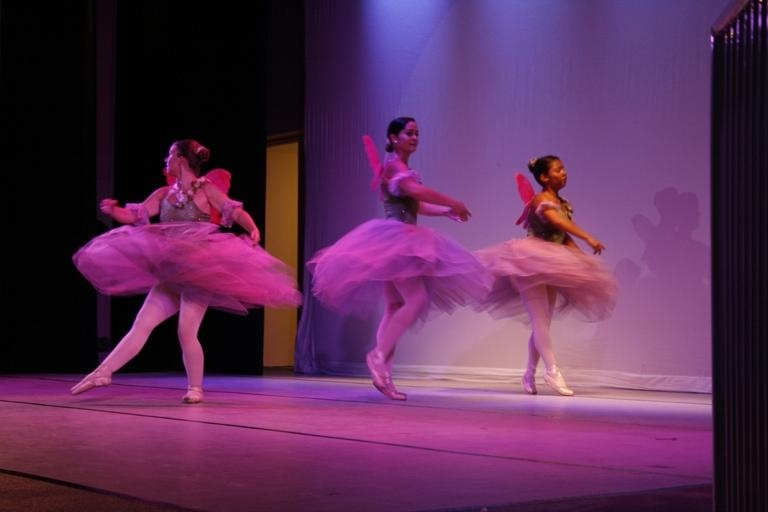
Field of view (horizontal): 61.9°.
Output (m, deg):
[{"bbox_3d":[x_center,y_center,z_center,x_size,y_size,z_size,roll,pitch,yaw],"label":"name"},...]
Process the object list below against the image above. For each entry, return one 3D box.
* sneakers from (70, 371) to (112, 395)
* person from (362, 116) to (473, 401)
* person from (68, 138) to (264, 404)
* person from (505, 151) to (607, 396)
[{"bbox_3d":[-1.504,0.645,3.284,0.179,0.108,0.152,1,2,-19],"label":"sneakers"},{"bbox_3d":[0.155,0.015,3.639,0.574,1.660,0.634,2,2,-2],"label":"person"},{"bbox_3d":[-1.125,0.041,3.399,0.957,1.352,0.493,2,2,4],"label":"person"},{"bbox_3d":[1.082,0.096,3.974,0.677,1.484,0.586,2,2,20],"label":"person"}]
